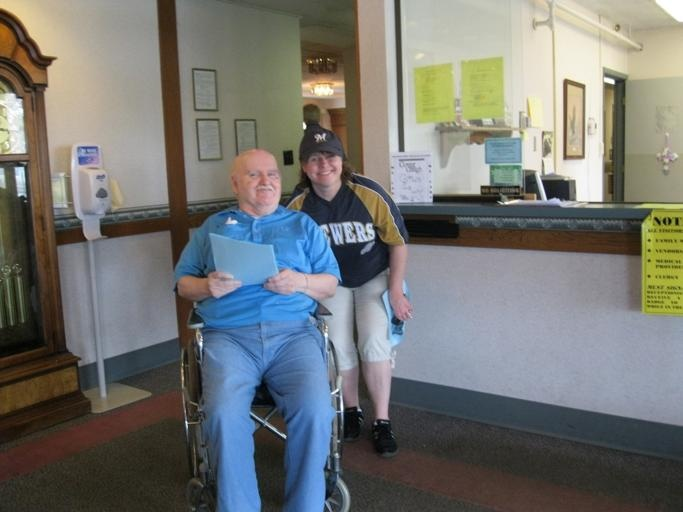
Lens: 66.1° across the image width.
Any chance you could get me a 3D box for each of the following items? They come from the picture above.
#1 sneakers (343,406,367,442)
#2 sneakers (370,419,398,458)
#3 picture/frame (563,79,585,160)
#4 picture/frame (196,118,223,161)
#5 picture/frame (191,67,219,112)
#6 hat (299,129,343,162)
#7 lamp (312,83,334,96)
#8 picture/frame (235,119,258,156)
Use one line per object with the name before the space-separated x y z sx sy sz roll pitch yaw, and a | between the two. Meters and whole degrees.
sneakers | 0.077 0.960 3.138 0.141 0.145 0.342 -7 -1 3
sneakers | 0.240 0.986 2.912 0.119 0.131 0.297 3 10 -7
picture/frame | 2.663 -1.554 5.995 0.116 0.859 0.742 5 14 33
picture/frame | -1.164 -1.030 4.635 0.242 0.358 0.012 3 13 19
picture/frame | -1.196 -1.453 4.569 0.030 0.452 0.370 4 10 29
hat | -0.105 -0.598 2.772 0.220 0.172 0.310 -4 7 -7
lamp | -0.424 -3.624 11.355 0.315 0.250 0.639 -10 14 -29
picture/frame | -0.904 -1.135 4.959 0.229 0.296 0.016 2 8 19
